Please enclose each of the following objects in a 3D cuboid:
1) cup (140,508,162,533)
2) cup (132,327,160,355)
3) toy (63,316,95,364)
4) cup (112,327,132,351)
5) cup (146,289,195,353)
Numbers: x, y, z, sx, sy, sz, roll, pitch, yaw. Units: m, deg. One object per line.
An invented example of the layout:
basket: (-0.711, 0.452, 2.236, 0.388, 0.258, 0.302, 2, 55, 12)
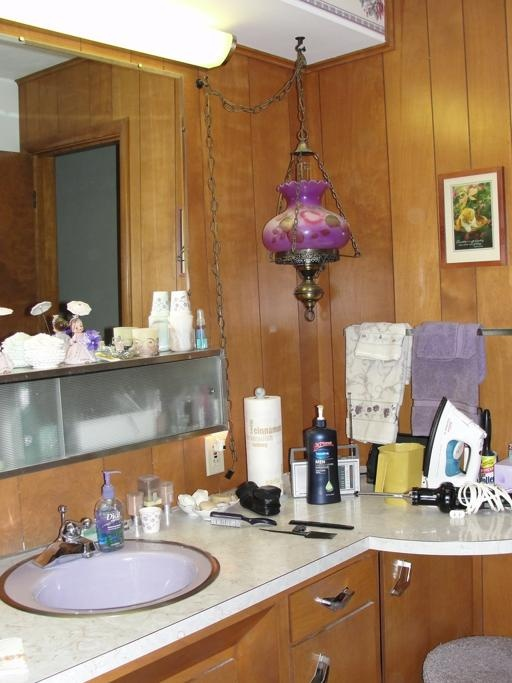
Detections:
cup: (-0.270, 0.459, 1.532, 0.059, 0.052, 0.062, 0, -10, 0)
cup: (-0.291, -0.001, 1.569, 0.069, 0.072, 0.068, -1, -2, 0)
toy: (-0.435, -0.004, 1.447, 0.069, 0.115, 0.109, -5, 4, -13)
cup: (-0.357, -0.006, 1.587, 0.057, 0.063, 0.056, -1, -4, 0)
cup: (-0.244, -0.058, 1.691, 0.084, 0.186, 0.103, 13, 14, 38)
